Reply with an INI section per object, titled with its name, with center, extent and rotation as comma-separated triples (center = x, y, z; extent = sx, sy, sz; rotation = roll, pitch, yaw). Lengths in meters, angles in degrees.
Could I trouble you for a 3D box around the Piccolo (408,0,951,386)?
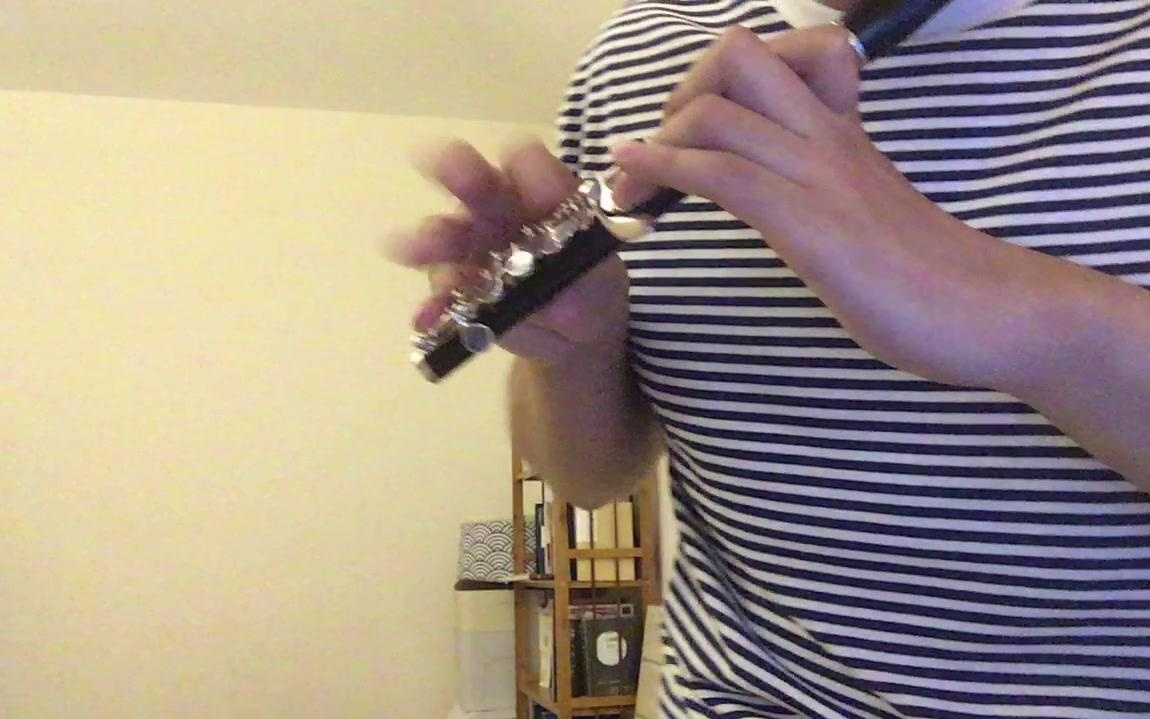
[Piccolo]
center = 0.155, -0.190, 1.545
extent = 0.756, 0.125, 0.110
rotation = -35, -53, 12
